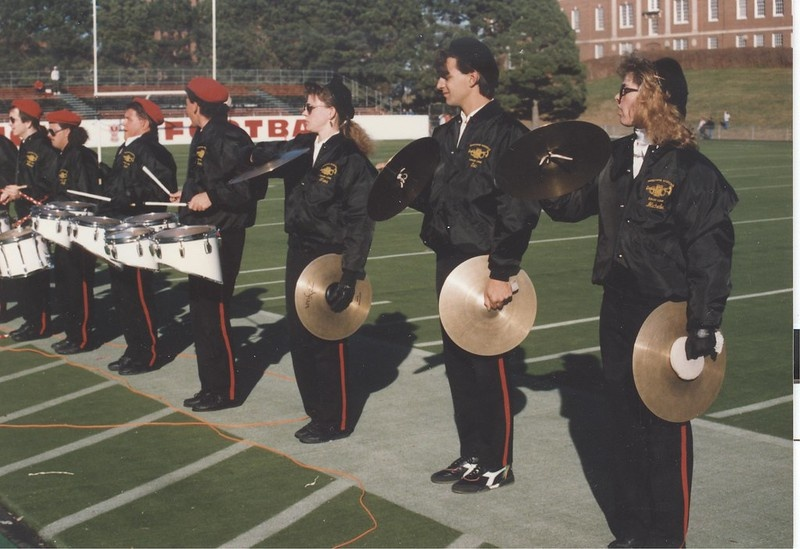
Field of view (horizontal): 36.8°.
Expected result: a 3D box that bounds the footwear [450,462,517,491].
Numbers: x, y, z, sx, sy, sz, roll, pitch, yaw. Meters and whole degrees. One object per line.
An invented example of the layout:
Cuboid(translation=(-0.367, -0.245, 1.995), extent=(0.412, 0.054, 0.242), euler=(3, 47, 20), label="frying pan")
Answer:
Cuboid(translation=(0.659, 1.591, 9.468), extent=(0.527, 0.182, 0.174), euler=(-5, -2, -18), label="footwear")

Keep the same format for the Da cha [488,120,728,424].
Cuboid(translation=(1.544, -0.040, 8.572), extent=(1.444, 2.109, 0.607), euler=(6, 13, 41), label="Da cha")

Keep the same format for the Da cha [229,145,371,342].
Cuboid(translation=(-0.745, -0.166, 9.869), extent=(1.263, 1.457, 0.532), euler=(-9, 8, 17), label="Da cha")

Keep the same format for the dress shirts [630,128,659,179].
Cuboid(translation=(1.724, -0.879, 8.541), extent=(0.078, 0.273, 0.296), euler=(11, 0, -19), label="dress shirts")

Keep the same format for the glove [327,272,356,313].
Cuboid(translation=(-0.494, 0.162, 9.911), extent=(0.068, 0.293, 0.287), euler=(26, 27, -48), label="glove")

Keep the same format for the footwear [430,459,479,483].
Cuboid(translation=(0.446, 1.536, 9.474), extent=(0.437, 0.145, 0.157), euler=(-16, 21, 5), label="footwear")

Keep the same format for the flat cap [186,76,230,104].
Cuboid(translation=(-1.765, -1.666, 10.855), extent=(0.355, 0.241, 0.360), euler=(-4, 9, -8), label="flat cap")
